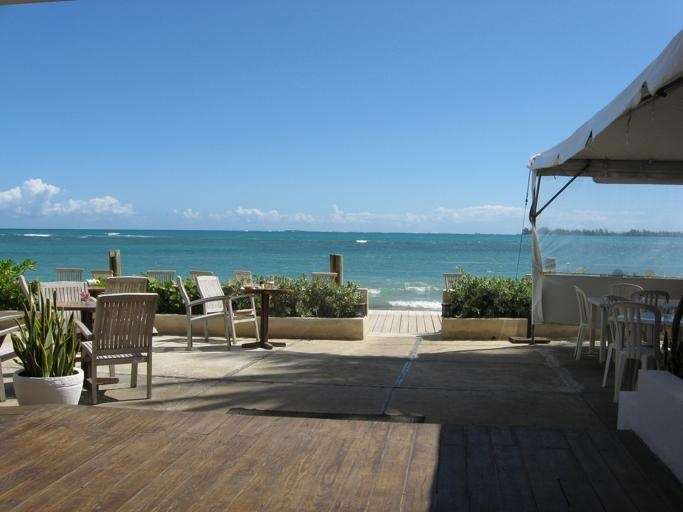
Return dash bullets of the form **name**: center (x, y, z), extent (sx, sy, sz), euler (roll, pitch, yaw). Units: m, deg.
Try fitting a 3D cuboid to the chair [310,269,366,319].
- **chair**: center (-0.046, 0.699, 9.691), extent (1.213, 1.014, 0.786), euler (0, -2, 1)
